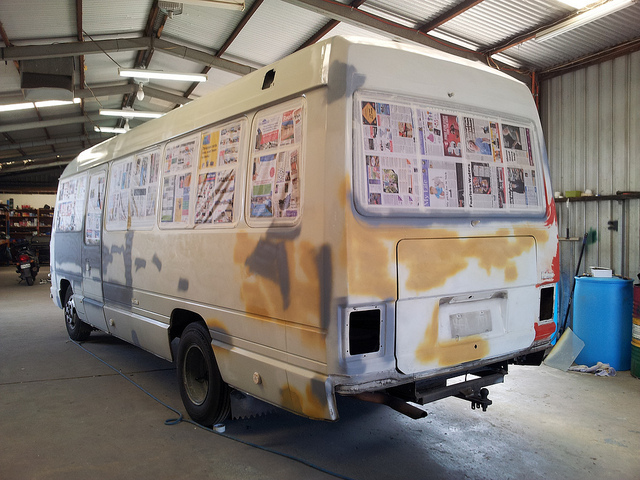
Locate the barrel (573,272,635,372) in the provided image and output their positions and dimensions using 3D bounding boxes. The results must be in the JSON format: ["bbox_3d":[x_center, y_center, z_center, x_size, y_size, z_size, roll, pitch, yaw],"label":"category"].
[{"bbox_3d":[4.419,1.269,6.161,0.748,1.685,0.433,0,0,38],"label":"barrel"}]

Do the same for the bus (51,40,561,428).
[{"bbox_3d":[-1.368,0.047,6.419,7.707,3.502,3.575,1,1,44],"label":"bus"}]

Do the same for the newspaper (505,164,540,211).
[{"bbox_3d":[1.842,-0.472,3.581,0.445,0.447,0.041,0,0,-28],"label":"newspaper"}]
